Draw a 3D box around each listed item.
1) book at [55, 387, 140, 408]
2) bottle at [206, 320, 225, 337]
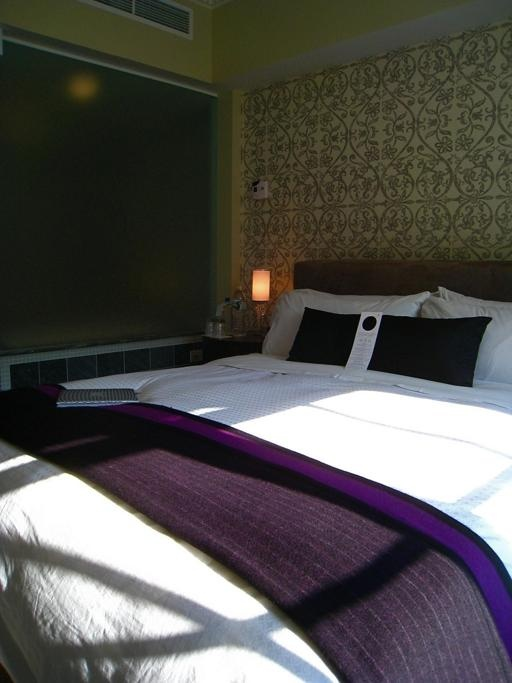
[{"bbox_3d":[-0.599,0.201,1.845,0.276,0.046,0.202,-4,8,-19],"label":"book"},{"bbox_3d":[-0.314,-0.102,3.744,0.131,0.124,0.131,1,1,-10],"label":"bottle"}]
